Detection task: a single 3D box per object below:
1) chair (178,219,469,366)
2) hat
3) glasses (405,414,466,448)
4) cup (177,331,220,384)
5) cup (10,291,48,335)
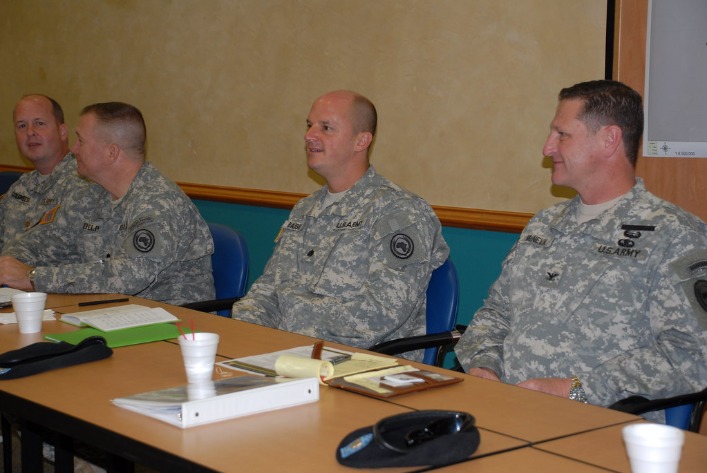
[{"bbox_3d":[-0.051,0.218,2.999,0.803,0.976,0.789,4,-5,33],"label":"chair"},{"bbox_3d":[0.135,0.474,1.517,0.235,0.047,0.141,-2,3,-16],"label":"hat"},{"bbox_3d":[0.200,0.449,1.536,0.100,0.021,0.070,-13,4,-25],"label":"glasses"},{"bbox_3d":[-0.421,0.327,1.768,0.149,0.136,0.138,0,-6,0],"label":"cup"},{"bbox_3d":[-1.090,0.253,2.185,0.146,0.138,0.135,-1,-3,0],"label":"cup"}]
